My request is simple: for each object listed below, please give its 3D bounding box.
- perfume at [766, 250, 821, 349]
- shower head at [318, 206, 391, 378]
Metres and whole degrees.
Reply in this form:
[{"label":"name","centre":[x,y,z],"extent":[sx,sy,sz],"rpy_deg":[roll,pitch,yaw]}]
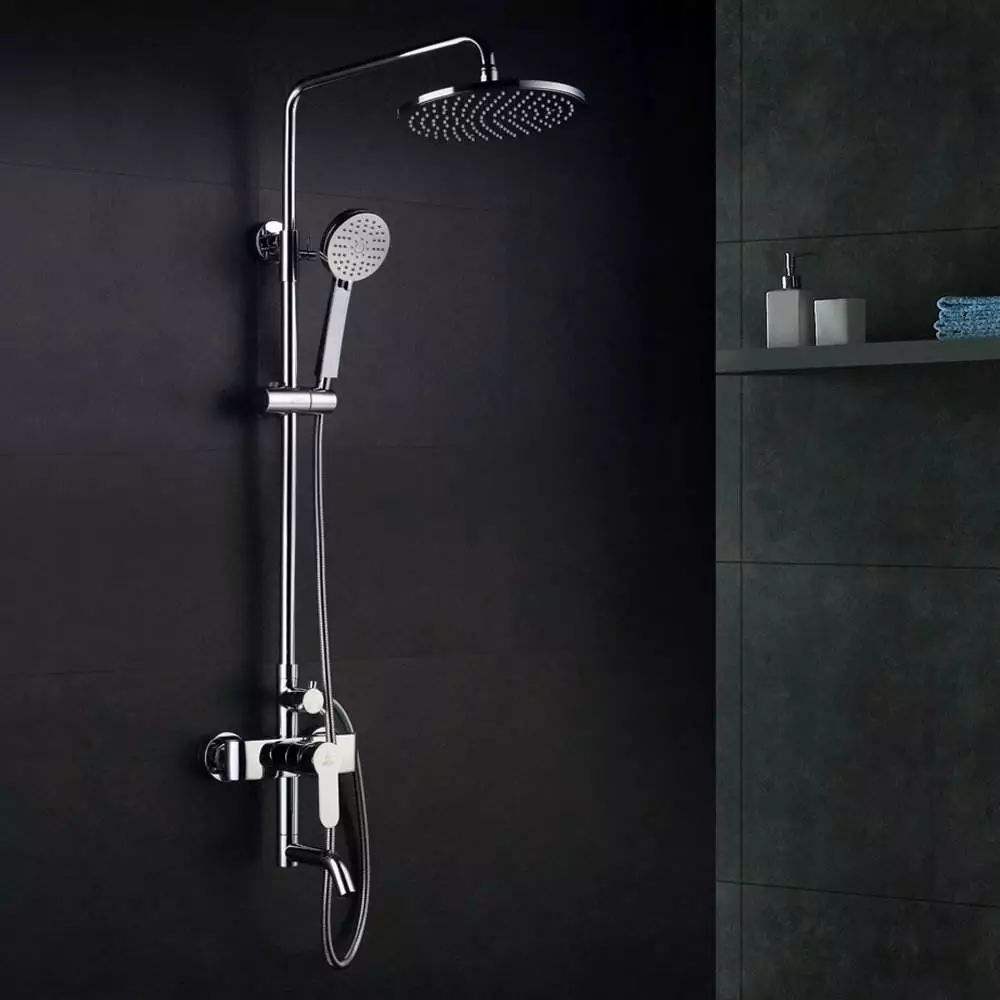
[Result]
[{"label":"perfume","centre":[0.506,-0.346,2.249],"extent":[0.081,0.178,0.063],"rpy_deg":[-2,-8,8]},{"label":"shower head","centre":[-0.229,-0.291,1.890],"extent":[0.094,0.232,0.140],"rpy_deg":[7,-12,-43]}]
